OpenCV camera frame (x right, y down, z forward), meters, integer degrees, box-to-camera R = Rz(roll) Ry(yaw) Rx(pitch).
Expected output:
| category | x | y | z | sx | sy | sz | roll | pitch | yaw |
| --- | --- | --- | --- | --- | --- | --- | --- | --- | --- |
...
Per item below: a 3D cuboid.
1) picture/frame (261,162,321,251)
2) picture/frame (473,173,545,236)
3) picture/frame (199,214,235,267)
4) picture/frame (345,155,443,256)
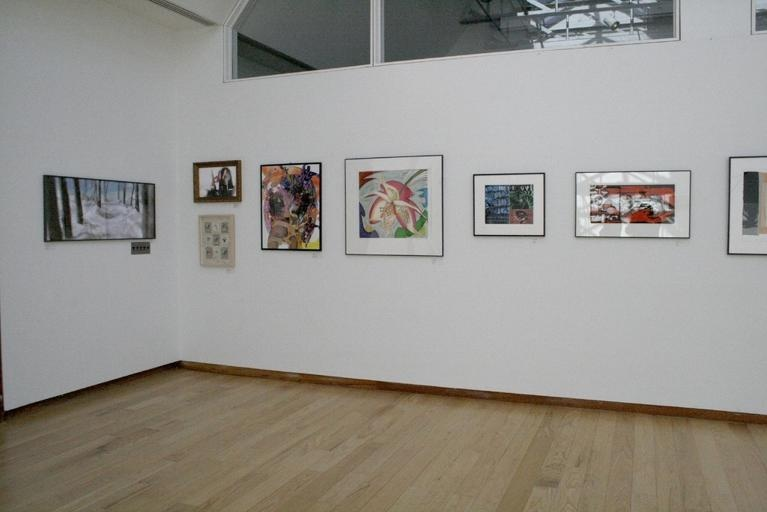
| category | x | y | z | sx | sy | sz | roll | pitch | yaw |
| --- | --- | --- | --- | --- | --- | --- | --- | --- | --- |
| picture/frame | -1.156 | -0.648 | 6.917 | 1.007 | 1.502 | 0.052 | 0 | 0 | 12 |
| picture/frame | 1.494 | -0.591 | 6.239 | 0.653 | 0.649 | 0.025 | 0 | -2 | 14 |
| picture/frame | -2.220 | -0.202 | 7.220 | 0.620 | 0.911 | 0.086 | 0 | 1 | 12 |
| picture/frame | 0.181 | -0.625 | 6.570 | 1.097 | 1.209 | 0.045 | 1 | 4 | 19 |
